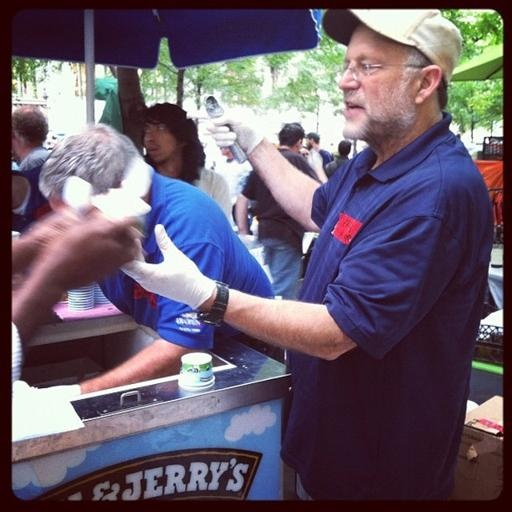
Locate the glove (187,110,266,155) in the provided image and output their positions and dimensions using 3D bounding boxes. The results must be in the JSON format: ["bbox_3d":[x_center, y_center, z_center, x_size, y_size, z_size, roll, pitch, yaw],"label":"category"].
[{"bbox_3d":[-0.101,-0.523,1.970,0.165,0.096,0.270,11,23,-45],"label":"glove"}]

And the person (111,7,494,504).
[{"bbox_3d":[0.264,0.047,1.515,0.862,1.608,0.816,6,11,23],"label":"person"}]

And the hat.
[{"bbox_3d":[0.404,-0.608,1.356,0.356,0.147,0.247,21,14,-26],"label":"hat"}]

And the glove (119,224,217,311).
[{"bbox_3d":[-0.248,0.033,1.325,0.188,0.286,0.079,-43,-8,-29],"label":"glove"}]
